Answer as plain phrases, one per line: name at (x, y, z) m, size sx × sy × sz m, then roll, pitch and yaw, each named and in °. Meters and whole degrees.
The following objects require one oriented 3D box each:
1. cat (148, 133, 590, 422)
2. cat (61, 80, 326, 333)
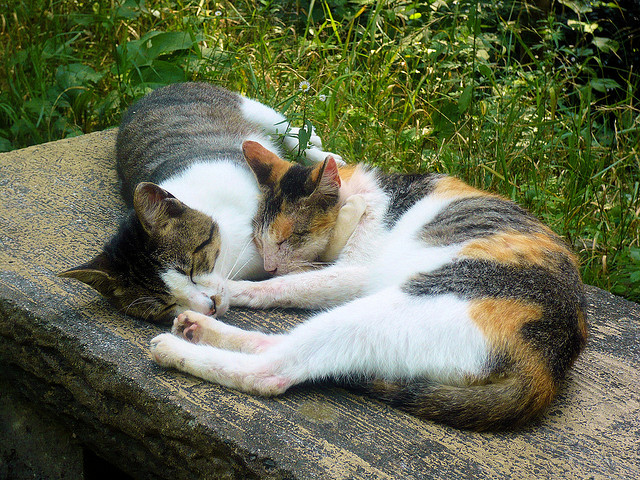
cat at (0.374, 0.252, 3.757) m, size 1.983 × 0.966 × 1.395 m, roll 18°, pitch 25°, yaw 18°
cat at (-0.722, -0.367, 4.447) m, size 1.251 × 0.957 × 2.095 m, roll 30°, pitch 43°, yaw -34°
